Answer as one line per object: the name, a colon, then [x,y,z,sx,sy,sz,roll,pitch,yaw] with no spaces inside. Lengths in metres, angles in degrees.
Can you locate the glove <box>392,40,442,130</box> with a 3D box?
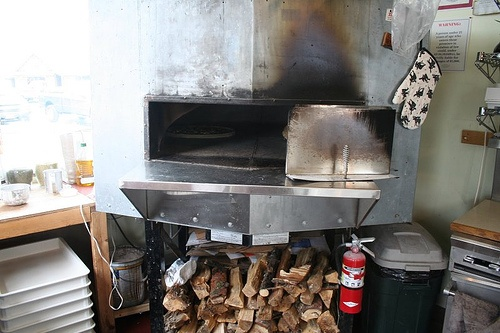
glove: [1.124,-0.529,2.558,0.311,0.540,0.091,25,8,-13]

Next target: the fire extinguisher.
fire extinguisher: [0.699,0.725,2.578,0.178,0.548,0.148,2,14,13]

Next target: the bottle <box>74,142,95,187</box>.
bottle: [-1.386,-0.017,3.222,0.146,0.338,0.148,4,10,-1]

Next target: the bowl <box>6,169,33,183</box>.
bowl: [-1.817,0.075,3.017,0.124,0.102,0.122,1,10,0]
